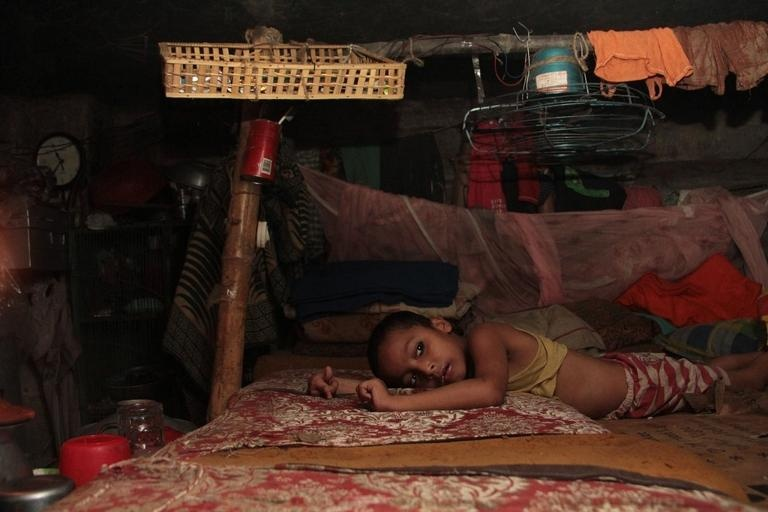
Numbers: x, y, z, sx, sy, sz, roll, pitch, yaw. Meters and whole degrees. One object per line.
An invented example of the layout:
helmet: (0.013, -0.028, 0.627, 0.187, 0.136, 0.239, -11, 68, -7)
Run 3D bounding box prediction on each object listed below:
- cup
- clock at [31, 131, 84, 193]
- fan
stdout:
cup: (-1.078, 0.791, 3.224, 0.240, 0.191, 0.242, -6, -4, 0)
clock: (-2.337, -0.690, 5.074, 0.404, 0.372, 0.385, -7, -7, -25)
fan: (1.159, -0.871, 4.579, 0.968, 0.421, 0.831, -1, -18, 8)
